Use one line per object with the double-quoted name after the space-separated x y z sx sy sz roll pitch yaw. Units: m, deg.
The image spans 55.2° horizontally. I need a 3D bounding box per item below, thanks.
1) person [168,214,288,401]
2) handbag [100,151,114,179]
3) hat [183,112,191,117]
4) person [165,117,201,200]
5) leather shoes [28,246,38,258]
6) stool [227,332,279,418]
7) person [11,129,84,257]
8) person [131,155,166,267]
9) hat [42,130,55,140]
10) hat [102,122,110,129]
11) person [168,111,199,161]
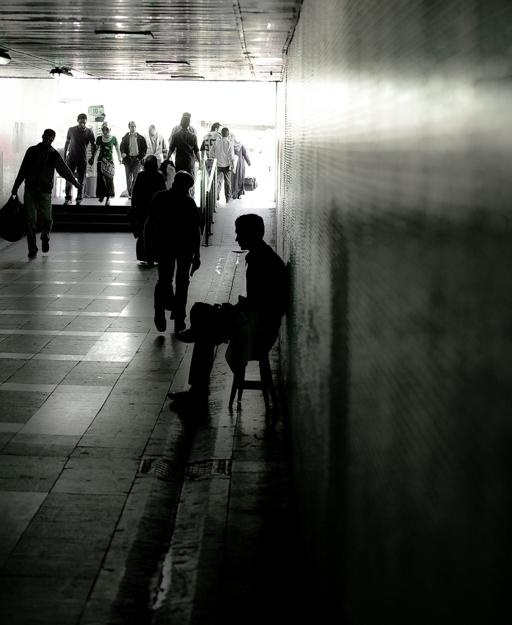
-0.199 0.046 4.701 0.965 1.908 0.542 -1 10 -10 "person"
-4.665 -4.539 15.231 0.441 0.605 0.389 -3 12 -21 "handbag"
-2.125 -6.011 14.817 0.205 0.199 0.311 0 13 -7 "hat"
-2.277 -4.879 15.313 0.822 2.709 0.681 2 47 -7 "person"
-5.331 -1.422 11.622 0.270 0.344 0.140 -4 12 -28 "leather shoes"
-0.033 0.632 4.907 0.349 0.723 0.390 4 -4 6 "stool"
-4.955 -2.722 11.330 1.144 2.914 0.736 0 10 -5 "person"
-2.186 -2.172 10.029 0.661 2.227 0.584 -3 33 -23 "person"
-4.710 -4.025 11.048 0.231 0.272 0.501 -3 14 -19 "hat"
-4.566 -5.666 14.791 0.158 0.247 0.233 -1 -14 -5 "hat"
-2.253 -5.554 15.056 0.808 1.327 0.892 -1 11 -11 "person"
